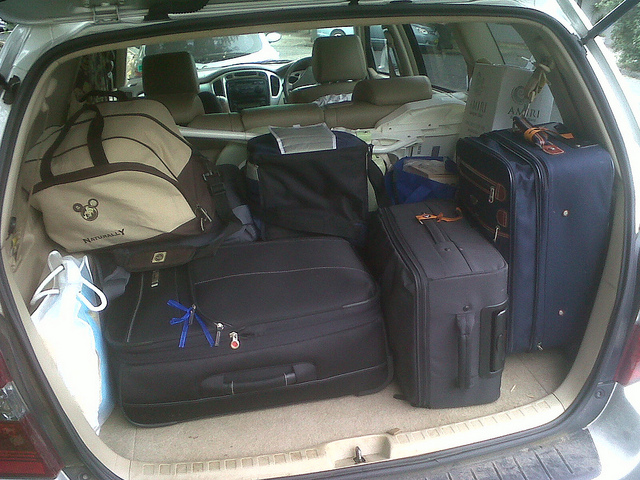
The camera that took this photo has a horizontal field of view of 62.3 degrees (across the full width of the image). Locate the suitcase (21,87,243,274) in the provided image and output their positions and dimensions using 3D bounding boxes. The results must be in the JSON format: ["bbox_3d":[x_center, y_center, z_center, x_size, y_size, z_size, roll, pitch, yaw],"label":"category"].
[{"bbox_3d":[-0.634,-0.145,1.910,0.717,0.458,0.528,-2,60,-26],"label":"suitcase"}]

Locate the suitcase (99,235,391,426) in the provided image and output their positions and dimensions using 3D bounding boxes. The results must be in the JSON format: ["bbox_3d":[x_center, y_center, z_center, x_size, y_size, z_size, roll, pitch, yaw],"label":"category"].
[{"bbox_3d":[-0.240,0.320,1.815,0.790,0.398,0.537,-4,48,-8],"label":"suitcase"}]

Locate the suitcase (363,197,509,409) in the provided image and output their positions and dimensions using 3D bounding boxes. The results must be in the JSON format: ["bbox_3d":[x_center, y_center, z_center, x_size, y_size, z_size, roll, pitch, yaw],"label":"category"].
[{"bbox_3d":[0.394,0.191,1.973,0.401,0.583,0.703,-10,27,-7],"label":"suitcase"}]

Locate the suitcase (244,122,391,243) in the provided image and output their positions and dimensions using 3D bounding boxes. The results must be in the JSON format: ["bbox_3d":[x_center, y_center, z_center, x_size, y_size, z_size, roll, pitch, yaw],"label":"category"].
[{"bbox_3d":[-0.012,-0.213,2.054,0.573,0.406,0.329,-5,33,3],"label":"suitcase"}]

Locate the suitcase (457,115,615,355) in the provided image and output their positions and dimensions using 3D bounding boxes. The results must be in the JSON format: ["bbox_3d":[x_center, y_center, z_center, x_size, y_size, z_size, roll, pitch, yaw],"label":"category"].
[{"bbox_3d":[0.678,-0.040,2.020,0.522,0.919,0.614,-22,32,-26],"label":"suitcase"}]
